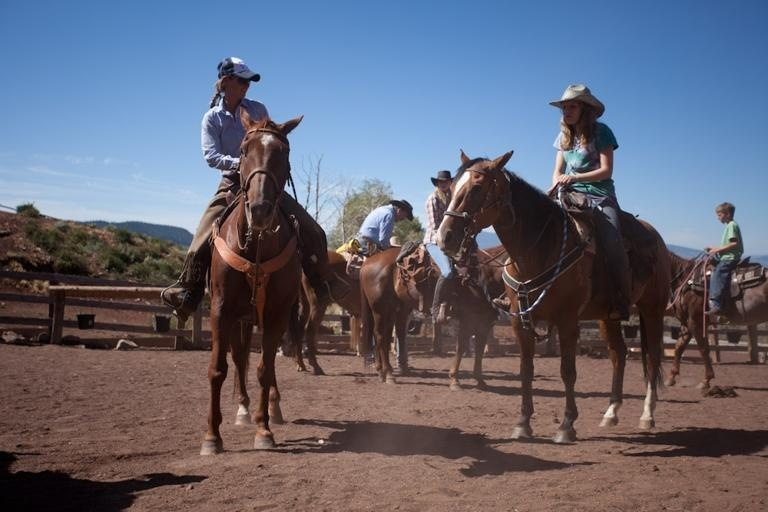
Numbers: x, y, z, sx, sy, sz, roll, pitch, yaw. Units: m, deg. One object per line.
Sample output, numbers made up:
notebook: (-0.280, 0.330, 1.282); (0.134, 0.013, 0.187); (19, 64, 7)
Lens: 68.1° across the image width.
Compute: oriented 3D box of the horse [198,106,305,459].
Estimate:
horse: (-1.950, 0.342, 8.424); (1.277, 5.074, 1.706); (4, -3, -18)

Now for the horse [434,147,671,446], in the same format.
horse: (2.797, 0.754, 9.092); (4.460, 4.311, 1.265); (6, -4, -35)

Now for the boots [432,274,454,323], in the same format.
boots: (1.291, 0.981, 12.717); (0.299, 1.224, 0.316); (12, -11, 11)

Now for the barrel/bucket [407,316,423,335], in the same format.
barrel/bucket: (0.866, 1.927, 16.013); (0.503, 0.414, 0.541); (2, -14, 0)

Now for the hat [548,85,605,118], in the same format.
hat: (3.277, -2.567, 9.349); (0.679, 0.403, 0.434); (4, -4, 5)

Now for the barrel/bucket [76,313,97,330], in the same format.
barrel/bucket: (-9.408, 2.005, 17.863); (0.570, 0.478, 0.559); (-3, -10, -1)

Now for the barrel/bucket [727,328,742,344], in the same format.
barrel/bucket: (13.200, 3.028, 21.354); (0.503, 0.444, 0.562); (1, -7, 1)
